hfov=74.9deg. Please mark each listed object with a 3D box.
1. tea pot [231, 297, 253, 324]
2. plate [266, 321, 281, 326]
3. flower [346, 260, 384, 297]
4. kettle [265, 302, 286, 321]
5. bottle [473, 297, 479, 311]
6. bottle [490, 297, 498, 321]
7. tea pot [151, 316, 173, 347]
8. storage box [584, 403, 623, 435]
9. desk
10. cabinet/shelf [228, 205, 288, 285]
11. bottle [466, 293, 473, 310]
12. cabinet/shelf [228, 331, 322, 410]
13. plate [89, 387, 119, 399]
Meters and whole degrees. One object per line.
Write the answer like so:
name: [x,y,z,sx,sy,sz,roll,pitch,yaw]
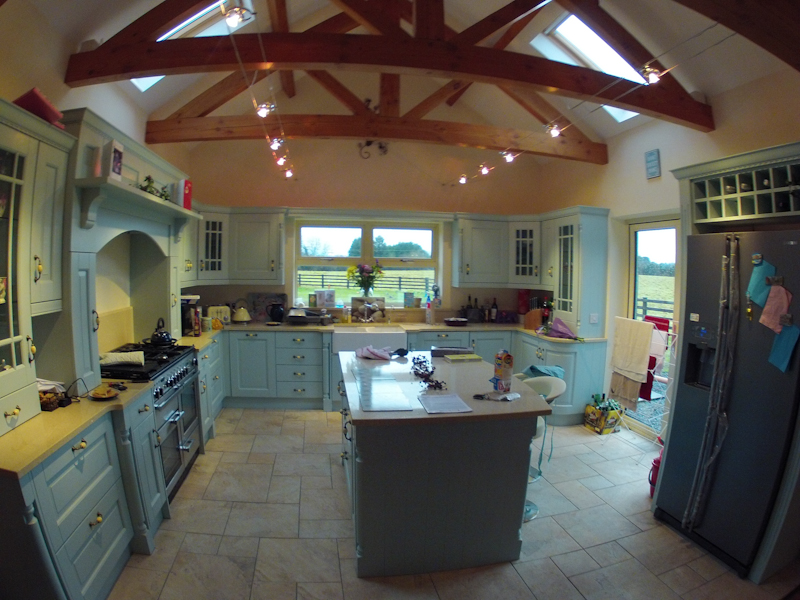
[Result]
tea pot: [-1.913,0.129,6.323,0.250,0.273,0.402,-2,3,-18]
plate: [-1.482,0.274,6.144,0.176,0.035,0.209,-1,3,-7]
flower: [-0.445,-0.280,6.582,0.421,0.437,0.424,0,2,-5]
kettle: [-1.518,0.141,6.329,0.240,0.249,0.158,1,0,5]
bottle: [0.987,0.035,6.800,0.053,0.136,0.158,0,3,6]
bottle: [1.229,0.120,6.832,0.100,0.309,0.158,0,4,10]
tea pot: [-2.110,0.292,4.672,0.193,0.259,0.237,1,3,-5]
storage box: [2.178,1.276,5.628,0.283,0.234,0.293,5,-6,-18]
desk: [0.158,1.351,4.382,1.352,1.120,1.769,2,-1,-13]
cabinet/shelf: [-1.707,-0.623,6.175,0.795,1.136,0.743,0,-1,-9]
bottle: [0.893,0.009,6.788,0.079,0.188,0.142,0,3,4]
cabinet/shelf: [-1.440,0.752,6.293,1.288,1.110,0.750,1,-1,-9]
plate: [-2.051,0.633,3.610,0.163,0.064,0.282,-3,4,-42]
